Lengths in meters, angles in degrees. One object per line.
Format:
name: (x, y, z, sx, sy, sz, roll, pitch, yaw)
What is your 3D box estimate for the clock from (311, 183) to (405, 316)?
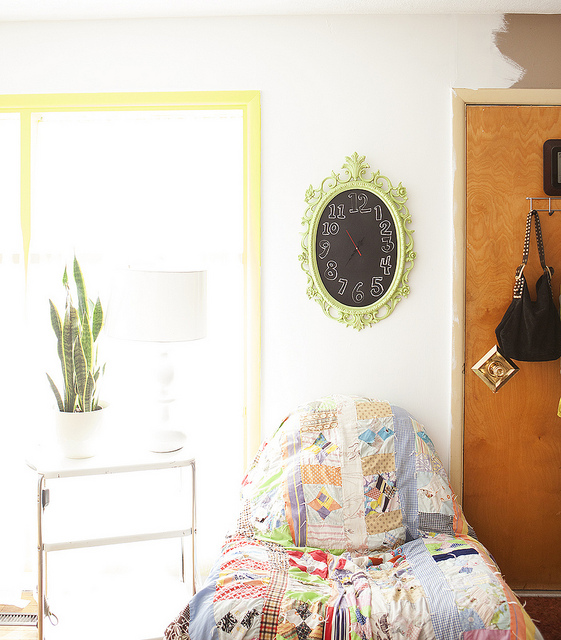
clock: (0.336, -0.327, 2.635, 0.470, 0.735, 0.058, -2, -1, 0)

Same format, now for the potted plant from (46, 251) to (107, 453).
potted plant: (-0.830, 0.125, 2.521, 0.234, 0.739, 0.457, -7, 14, -17)

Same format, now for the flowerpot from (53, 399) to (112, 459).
flowerpot: (-0.758, 0.414, 2.389, 0.181, 0.174, 0.183, 0, 3, 13)
